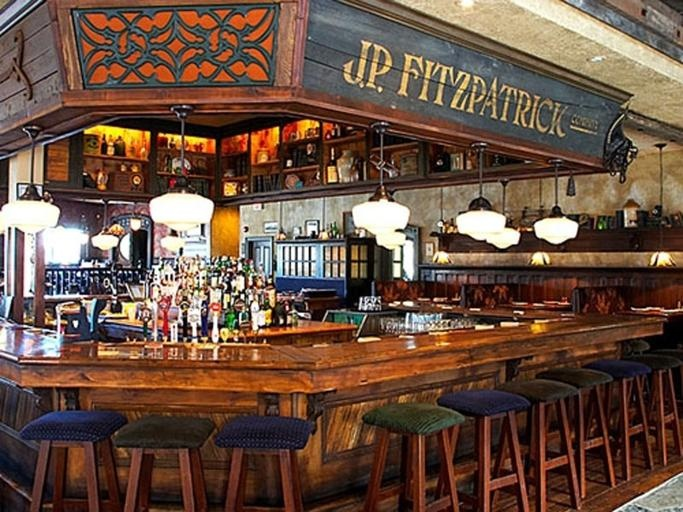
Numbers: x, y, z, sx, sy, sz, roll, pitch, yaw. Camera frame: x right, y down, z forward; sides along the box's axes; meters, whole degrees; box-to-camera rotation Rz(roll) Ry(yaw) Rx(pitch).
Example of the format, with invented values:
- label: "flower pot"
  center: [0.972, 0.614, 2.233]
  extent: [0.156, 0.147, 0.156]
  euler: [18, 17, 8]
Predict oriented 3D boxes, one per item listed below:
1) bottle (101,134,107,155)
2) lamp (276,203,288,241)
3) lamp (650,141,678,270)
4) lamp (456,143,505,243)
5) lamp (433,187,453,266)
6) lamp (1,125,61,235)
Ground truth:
- label: "bottle"
  center: [-3.900, -1.845, 10.116]
  extent: [0.082, 0.409, 0.452]
  euler: [0, -1, -21]
- label: "lamp"
  center: [-1.321, -0.795, 13.495]
  extent: [0.225, 0.872, 0.667]
  euler: [0, -1, -5]
- label: "lamp"
  center: [4.715, -0.733, 9.086]
  extent: [0.345, 1.791, 0.578]
  euler: [0, -1, 27]
- label: "lamp"
  center: [1.533, -0.780, 6.762]
  extent: [0.435, 1.271, 2.854]
  euler: [0, -1, 14]
- label: "lamp"
  center: [1.803, -0.573, 11.117]
  extent: [0.340, 1.419, 0.744]
  euler: [0, -1, 9]
- label: "lamp"
  center: [-2.772, -0.649, 5.442]
  extent: [0.498, 0.907, 1.412]
  euler: [0, -1, -25]
